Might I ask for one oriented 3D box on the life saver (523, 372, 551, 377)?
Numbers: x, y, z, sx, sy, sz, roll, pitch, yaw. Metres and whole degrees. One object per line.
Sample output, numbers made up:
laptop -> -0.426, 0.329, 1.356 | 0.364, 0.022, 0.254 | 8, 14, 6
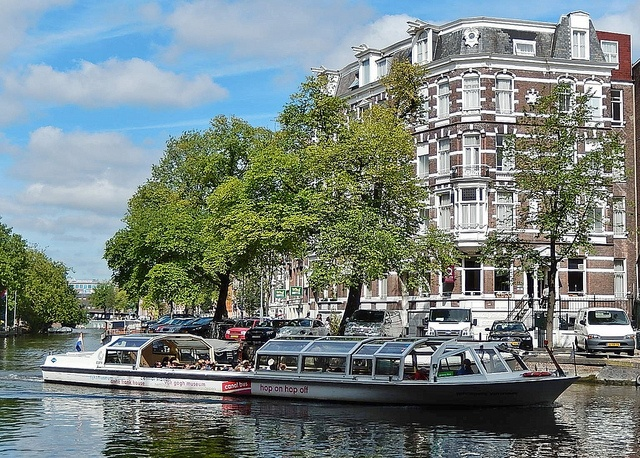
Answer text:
life saver -> 9.064, 6.082, 46.759 | 1.254, 0.193, 0.398 | 0, -10, -1

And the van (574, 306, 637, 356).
van -> 15.091, 5.454, 59.457 | 2.485, 2.589, 2.532 | 0, -10, -3

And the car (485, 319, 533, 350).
car -> 10.139, 5.850, 61.008 | 2.476, 1.561, 2.407 | -4, -7, 15
